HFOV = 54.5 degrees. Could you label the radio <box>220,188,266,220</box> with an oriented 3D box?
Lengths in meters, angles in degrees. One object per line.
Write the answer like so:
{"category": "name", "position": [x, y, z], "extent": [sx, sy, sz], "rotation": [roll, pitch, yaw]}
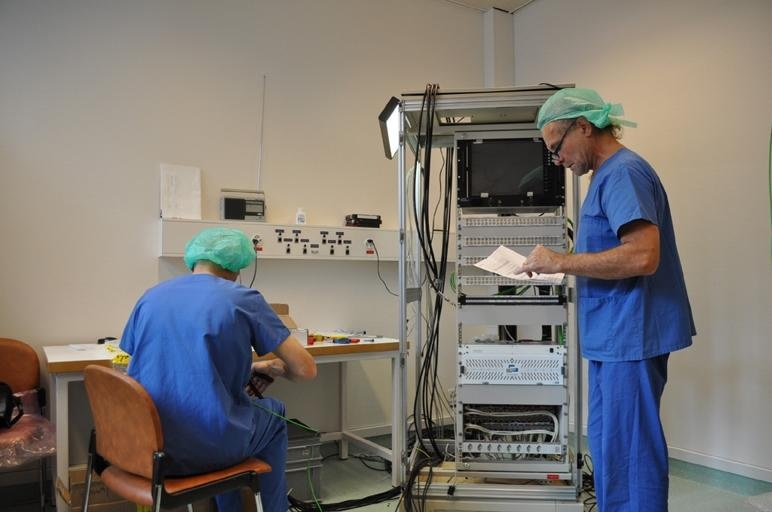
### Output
{"category": "radio", "position": [-1.085, -0.390, 5.733], "extent": [0.350, 0.253, 0.254], "rotation": [-1, 2, -14]}

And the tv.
{"category": "tv", "position": [0.788, -0.522, 4.776], "extent": [0.643, 0.463, 0.421], "rotation": [0, -1, 6]}

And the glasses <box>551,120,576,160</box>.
{"category": "glasses", "position": [0.965, -0.647, 4.152], "extent": [0.045, 0.168, 0.156], "rotation": [14, -1, 13]}

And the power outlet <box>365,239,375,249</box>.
{"category": "power outlet", "position": [-0.117, -0.096, 6.013], "extent": [0.049, 0.073, 0.031], "rotation": [-7, 5, -27]}
